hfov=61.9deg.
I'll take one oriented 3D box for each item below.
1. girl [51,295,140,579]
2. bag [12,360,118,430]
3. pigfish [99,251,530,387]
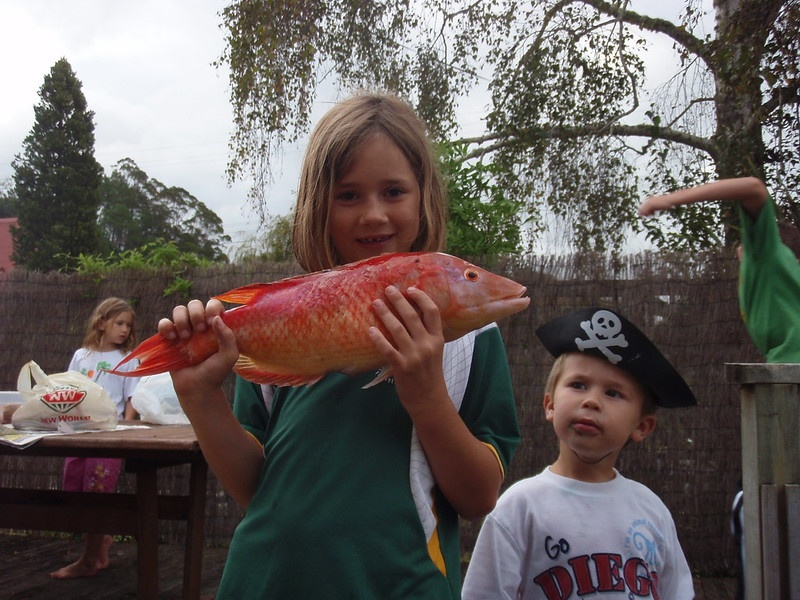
[{"bbox_3d":[-2.969,1.296,6.420,0.675,2.496,0.715,2,-8,7],"label":"girl"},{"bbox_3d":[-2.502,0.753,5.025,0.669,0.514,0.386,3,-3,-25],"label":"bag"},{"bbox_3d":[-0.303,0.119,2.697,1.609,0.585,0.432,-9,-11,-5],"label":"pigfish"}]
